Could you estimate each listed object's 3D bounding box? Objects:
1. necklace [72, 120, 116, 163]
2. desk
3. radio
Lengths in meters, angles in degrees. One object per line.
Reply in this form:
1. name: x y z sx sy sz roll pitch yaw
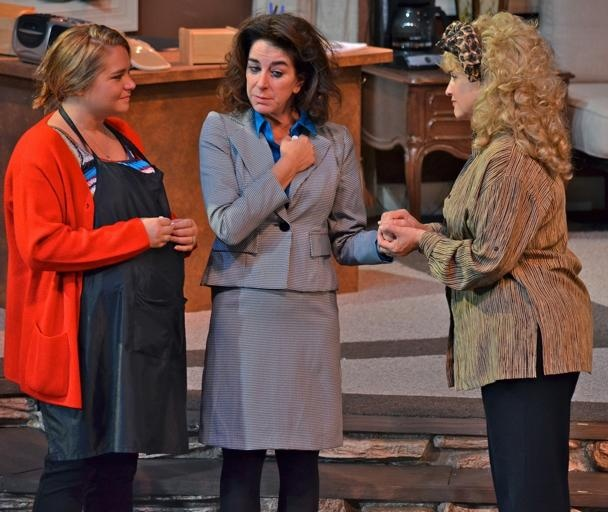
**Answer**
1. necklace: -0.599 -0.317 2.288 0.036 0.140 0.078 -27 13 42
2. desk: -0.769 0.007 4.797 2.371 1.573 1.339 -6 15 -22
3. radio: -1.109 -0.947 3.659 0.411 0.217 0.141 13 4 21
